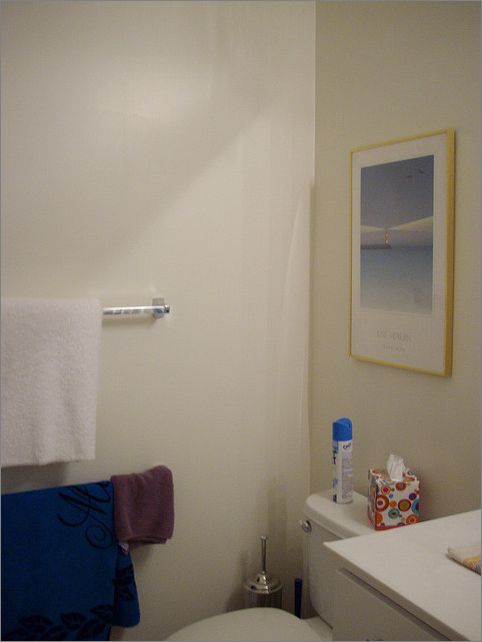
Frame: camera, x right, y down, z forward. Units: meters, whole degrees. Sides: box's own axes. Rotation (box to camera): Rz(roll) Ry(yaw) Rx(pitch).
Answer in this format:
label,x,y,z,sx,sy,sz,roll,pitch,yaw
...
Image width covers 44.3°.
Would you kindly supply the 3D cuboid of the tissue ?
label,x,y,z,sx,sy,sz,roll,pitch,yaw
tissue ,0.342,0.384,1.347,0.066,0.170,0.082,-1,14,2
